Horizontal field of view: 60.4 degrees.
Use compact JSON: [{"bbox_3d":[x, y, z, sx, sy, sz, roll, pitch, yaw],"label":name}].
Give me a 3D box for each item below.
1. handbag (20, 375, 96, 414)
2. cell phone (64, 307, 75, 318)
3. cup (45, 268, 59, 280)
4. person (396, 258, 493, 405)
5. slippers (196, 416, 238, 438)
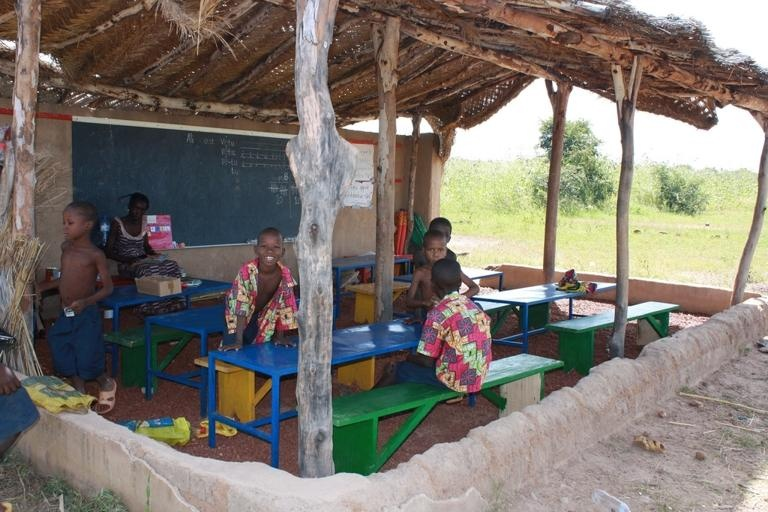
[{"bbox_3d":[-2.733,1.145,5.495,0.456,0.100,0.311,14,14,30],"label":"handbag"},{"bbox_3d":[-3.005,0.534,6.336,0.083,0.101,0.053,-2,7,-29],"label":"cell phone"},{"bbox_3d":[-4.380,0.237,8.738,0.141,0.151,0.143,0,-2,0],"label":"cup"},{"bbox_3d":[0.563,0.648,5.981,0.770,1.229,0.390,2,6,5],"label":"person"},{"bbox_3d":[-1.592,1.663,6.316,0.311,0.119,0.263,3,0,-20],"label":"slippers"}]
